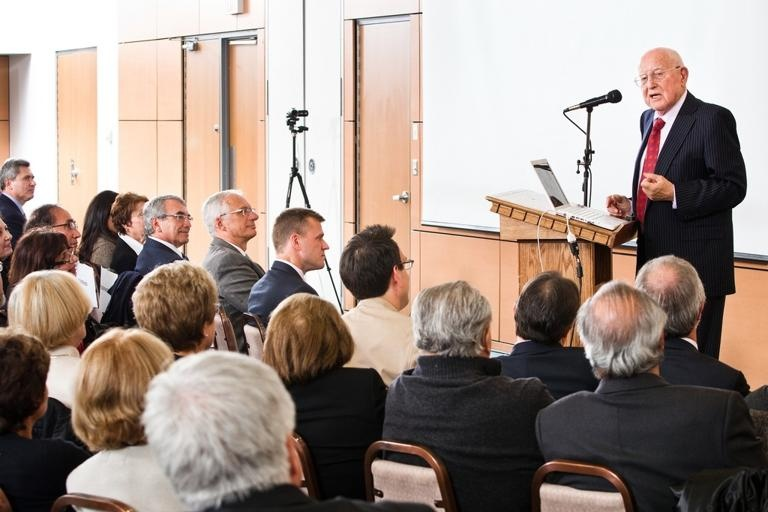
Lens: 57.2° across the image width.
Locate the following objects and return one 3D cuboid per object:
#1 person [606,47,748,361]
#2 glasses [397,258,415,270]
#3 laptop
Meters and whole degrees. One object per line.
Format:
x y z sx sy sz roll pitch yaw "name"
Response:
1.603 -0.303 3.831 0.638 1.704 0.438 1 -1 18 "person"
0.122 0.046 4.061 0.089 0.028 0.093 -5 -2 23 "glasses"
1.070 -0.333 3.917 0.473 0.319 0.377 11 11 31 "laptop"
